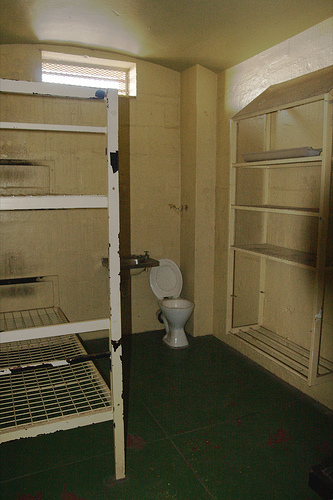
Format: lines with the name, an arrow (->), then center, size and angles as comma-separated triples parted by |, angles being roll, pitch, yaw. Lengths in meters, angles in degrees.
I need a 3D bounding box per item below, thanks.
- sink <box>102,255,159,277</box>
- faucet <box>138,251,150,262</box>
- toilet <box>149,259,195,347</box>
sink -> -0.351, 0.189, 3.756 | 0.571, 0.228, 0.435 | -3, 8, -27
faucet -> -0.235, 0.065, 3.853 | 0.106, 0.088, 0.191 | 0, 7, -4
toilet -> 0.041, 0.515, 3.841 | 0.420, 0.804, 0.665 | -1, 6, -4
